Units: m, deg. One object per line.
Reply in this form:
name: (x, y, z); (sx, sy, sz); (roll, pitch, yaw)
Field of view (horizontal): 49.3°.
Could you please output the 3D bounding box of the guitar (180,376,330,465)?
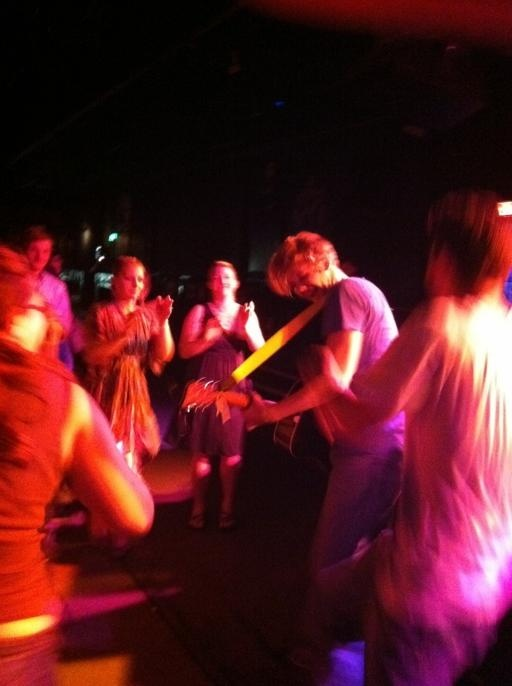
guitar: (0.051, 0.198, 1.575); (0.394, 0.162, 0.059); (21, 44, -27)
